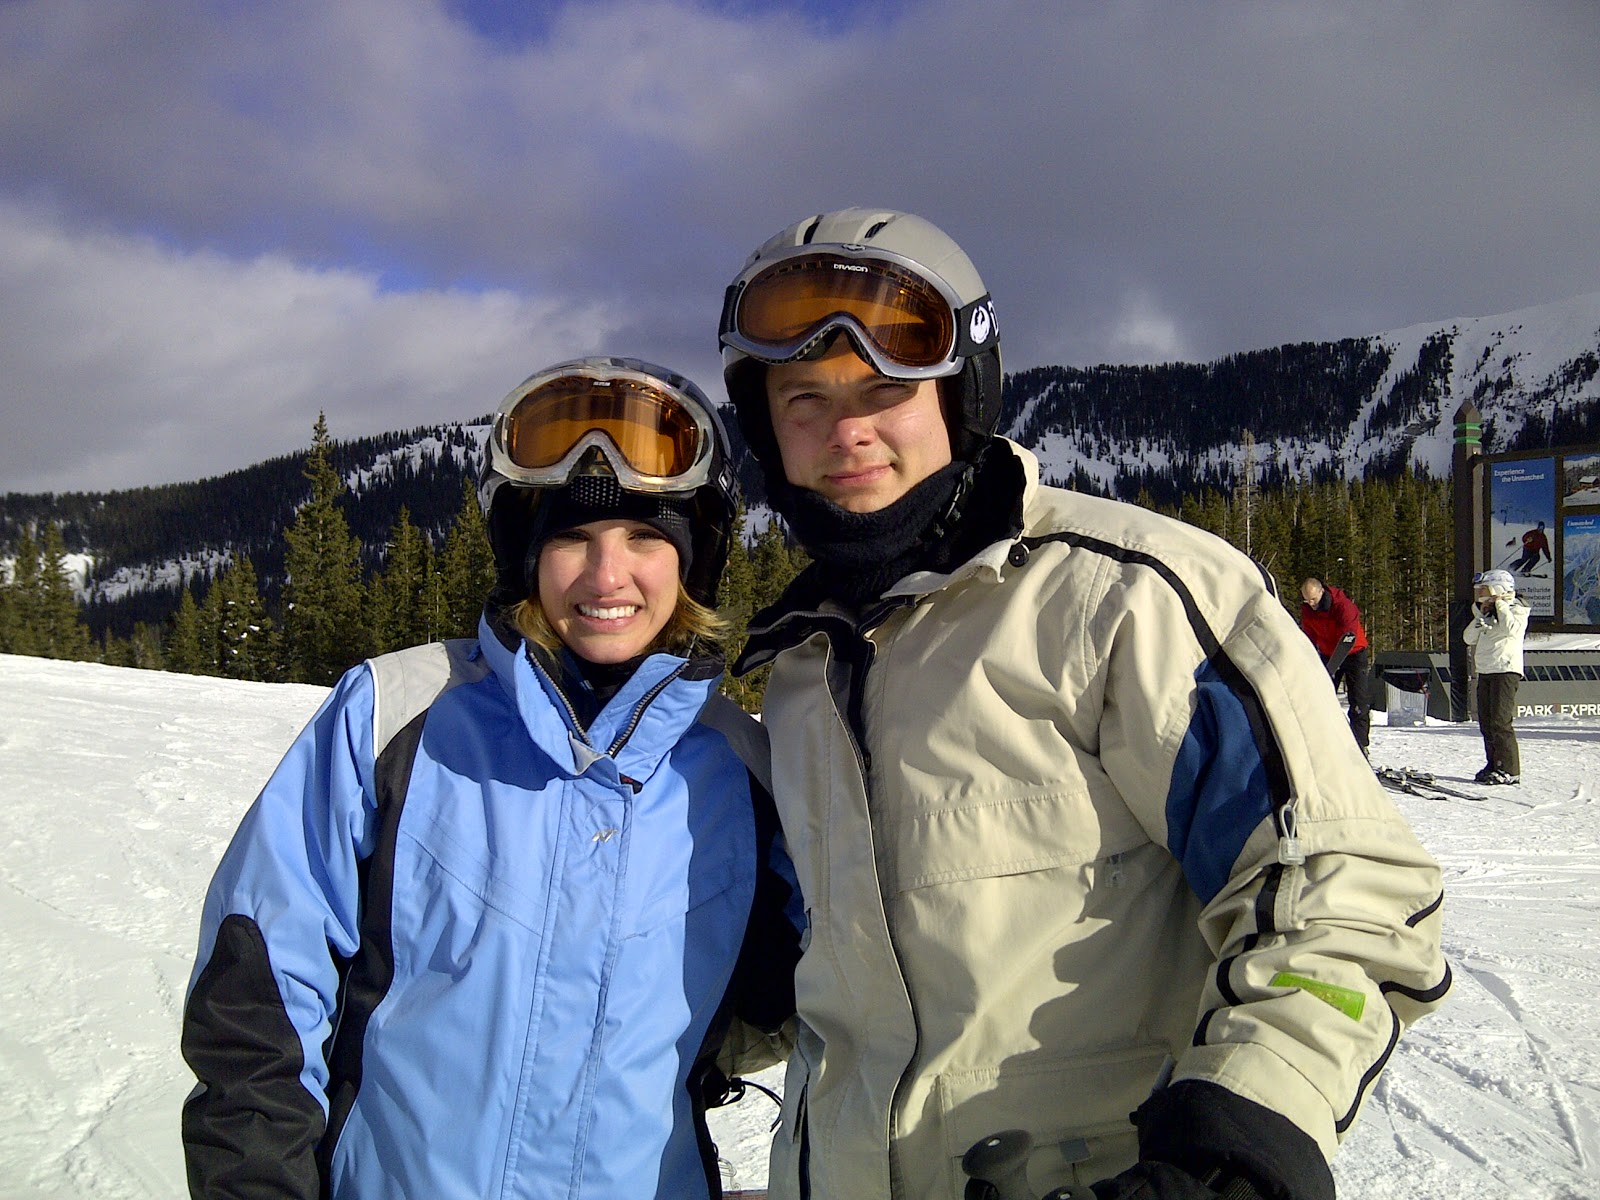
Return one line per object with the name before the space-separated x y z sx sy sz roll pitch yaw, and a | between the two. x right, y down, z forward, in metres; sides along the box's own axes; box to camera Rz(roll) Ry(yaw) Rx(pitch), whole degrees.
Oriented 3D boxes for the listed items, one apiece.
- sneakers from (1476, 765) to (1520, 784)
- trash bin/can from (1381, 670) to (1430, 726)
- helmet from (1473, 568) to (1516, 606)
sneakers | 6.026 1.507 11.726 0.360 0.211 0.149 -6 -4 24
trash bin/can | 8.364 1.356 18.821 0.599 0.829 0.625 5 5 42
helmet | 7.000 -0.136 13.656 0.246 0.364 0.347 -10 -47 48
